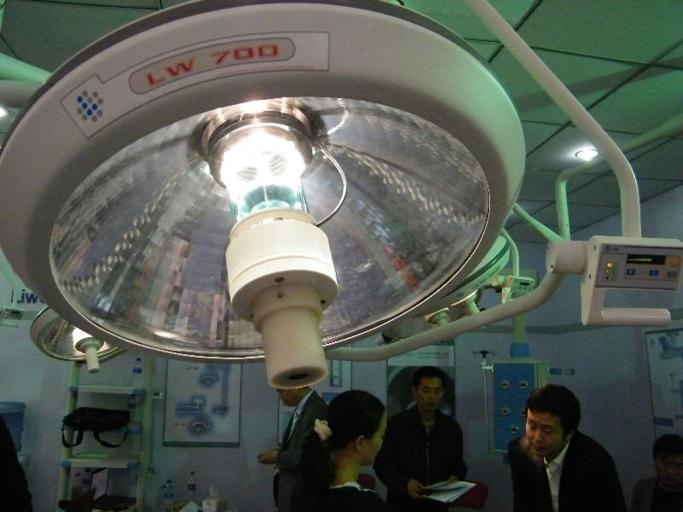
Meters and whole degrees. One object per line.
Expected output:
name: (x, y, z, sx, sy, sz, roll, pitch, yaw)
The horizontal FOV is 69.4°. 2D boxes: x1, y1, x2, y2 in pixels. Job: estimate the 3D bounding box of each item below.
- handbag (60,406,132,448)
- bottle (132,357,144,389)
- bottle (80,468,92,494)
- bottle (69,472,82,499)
handbag: (-2.020, 1.317, 3.841, 0.262, 0.152, 0.314, 11, 4, 36)
bottle: (-1.742, 1.019, 4.252, 0.070, 0.068, 0.252, 3, 25, -14)
bottle: (-2.045, 1.806, 3.983, 0.091, 0.154, 0.302, 6, -18, -26)
bottle: (-2.141, 1.851, 4.014, 0.091, 0.198, 0.284, 7, -18, -28)
